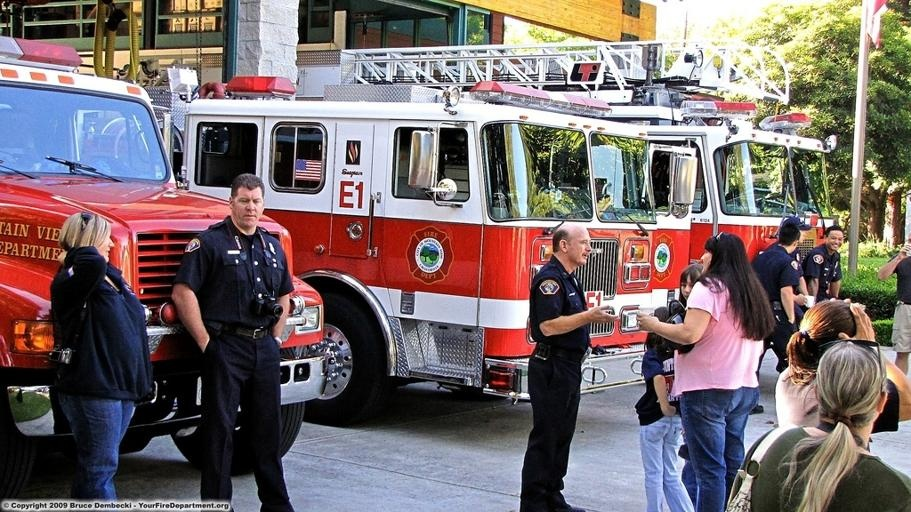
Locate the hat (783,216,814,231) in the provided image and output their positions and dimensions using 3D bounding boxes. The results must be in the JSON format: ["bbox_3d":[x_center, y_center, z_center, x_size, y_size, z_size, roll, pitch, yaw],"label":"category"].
[{"bbox_3d":[5.002,-0.479,12.420,0.457,0.161,0.284,5,4,-38],"label":"hat"}]

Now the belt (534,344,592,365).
[{"bbox_3d":[0.969,0.914,7.924,0.330,0.089,0.238,7,3,-5],"label":"belt"}]

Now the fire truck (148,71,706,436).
[{"bbox_3d":[-1.317,0.098,13.457,8.831,4.123,5.949,0,-1,34],"label":"fire truck"}]

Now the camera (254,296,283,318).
[{"bbox_3d":[-1.656,0.439,7.503,0.184,0.161,0.248,4,1,36],"label":"camera"}]

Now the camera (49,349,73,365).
[{"bbox_3d":[-3.180,0.815,6.855,0.172,0.155,0.062,6,-7,31],"label":"camera"}]

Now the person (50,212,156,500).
[{"bbox_3d":[-2.914,0.847,6.991,0.748,2.371,0.371,0,8,-20],"label":"person"}]

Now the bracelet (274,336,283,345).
[{"bbox_3d":[-1.623,0.764,7.694,0.083,0.036,0.065,43,8,31],"label":"bracelet"}]

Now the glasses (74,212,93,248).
[{"bbox_3d":[-3.028,-0.213,6.887,0.191,0.222,0.086,2,-2,-12],"label":"glasses"}]

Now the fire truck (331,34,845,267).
[{"bbox_3d":[1.746,-2.244,16.933,10.359,4.291,4.196,3,6,30],"label":"fire truck"}]
